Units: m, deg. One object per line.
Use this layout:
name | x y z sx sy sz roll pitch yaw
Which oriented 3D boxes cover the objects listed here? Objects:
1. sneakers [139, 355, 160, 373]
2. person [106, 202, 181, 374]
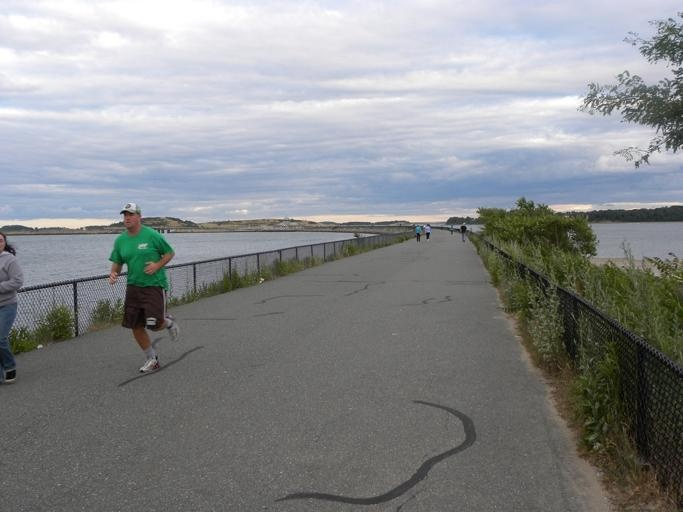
sneakers | -2.950 1.708 7.321 0.153 0.161 0.359 -14 -15 3
person | -3.023 0.489 7.333 0.846 2.545 0.663 -1 6 -10
